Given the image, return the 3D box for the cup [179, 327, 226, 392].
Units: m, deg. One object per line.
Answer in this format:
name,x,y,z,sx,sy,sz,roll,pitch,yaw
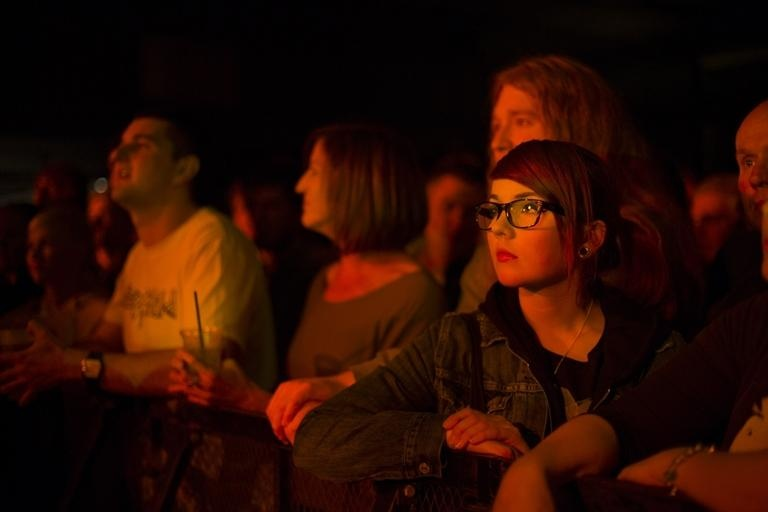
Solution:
cup,-0.970,0.520,3.981,0.268,0.421,0.363,3,-4,-29
